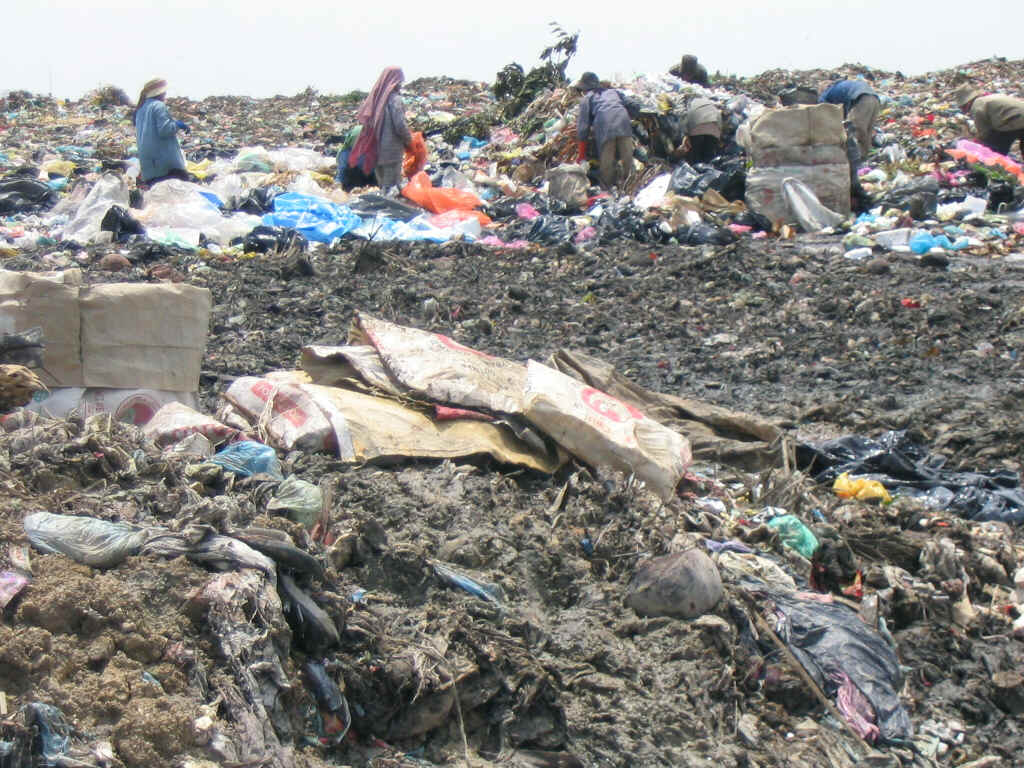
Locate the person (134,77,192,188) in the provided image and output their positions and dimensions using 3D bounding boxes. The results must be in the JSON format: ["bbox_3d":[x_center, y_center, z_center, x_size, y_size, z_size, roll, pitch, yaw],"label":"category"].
[{"bbox_3d":[-3.326,-2.365,11.759,0.457,0.981,0.714,0,7,-15],"label":"person"}]

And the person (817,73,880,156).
[{"bbox_3d":[3.685,-2.894,13.648,0.706,0.944,0.711,-1,-6,-7],"label":"person"}]

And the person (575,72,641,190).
[{"bbox_3d":[1.018,-2.646,13.219,0.614,1.183,1.149,2,7,3],"label":"person"}]

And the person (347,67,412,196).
[{"bbox_3d":[-1.223,-2.458,12.124,0.612,1.160,0.695,-2,8,-27],"label":"person"}]
